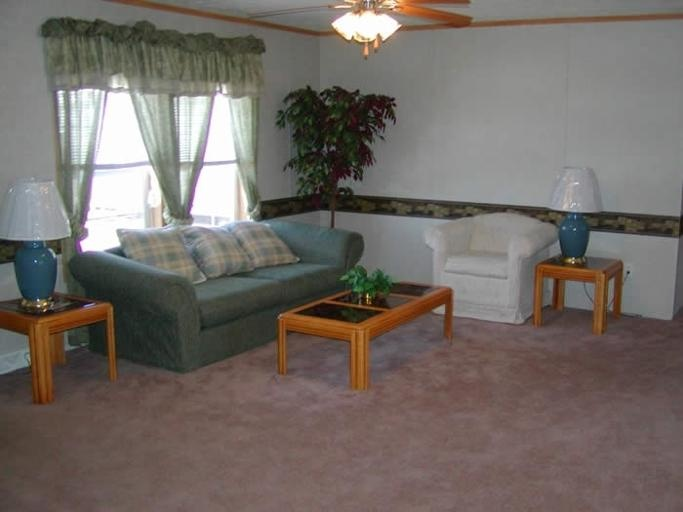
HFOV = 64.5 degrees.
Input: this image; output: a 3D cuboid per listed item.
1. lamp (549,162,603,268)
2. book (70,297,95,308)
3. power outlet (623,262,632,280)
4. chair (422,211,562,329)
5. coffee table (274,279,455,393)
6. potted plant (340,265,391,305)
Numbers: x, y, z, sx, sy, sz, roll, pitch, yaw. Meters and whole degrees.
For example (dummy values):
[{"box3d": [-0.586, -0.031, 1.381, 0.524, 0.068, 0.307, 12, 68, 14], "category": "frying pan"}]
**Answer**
[{"box3d": [2.320, -0.392, 5.380, 0.468, 0.929, 0.349, 4, 15, 25], "category": "lamp"}, {"box3d": [-1.988, 0.356, 4.138, 0.102, 0.029, 0.112, 12, 10, 33], "category": "book"}, {"box3d": [3.039, 0.171, 5.759, 0.105, 0.151, 0.054, 10, 7, 34], "category": "power outlet"}, {"box3d": [1.596, 0.075, 5.863, 1.168, 1.063, 0.975, 7, 17, 38], "category": "chair"}, {"box3d": [0.224, 0.618, 4.591, 0.775, 0.510, 1.483, 11, 19, 42], "category": "coffee table"}, {"box3d": [0.234, 0.243, 4.771, 0.483, 0.295, 0.531, 5, 12, 23], "category": "potted plant"}]
